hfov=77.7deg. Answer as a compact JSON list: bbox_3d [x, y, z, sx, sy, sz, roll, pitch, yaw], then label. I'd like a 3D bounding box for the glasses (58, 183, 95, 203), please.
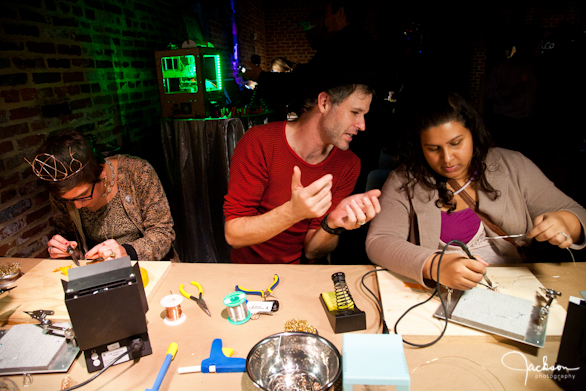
[{"bbox_3d":[-1.181,0.004,2.005,0.139,0.128,0.037,-4,-25,4],"label":"glasses"}]

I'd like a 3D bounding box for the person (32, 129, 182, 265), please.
[{"bbox_3d":[-1.101,0.057,2.149,0.624,1.098,0.541,-7,19,-15],"label":"person"}]

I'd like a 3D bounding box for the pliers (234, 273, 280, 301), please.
[{"bbox_3d":[-0.137,0.464,1.744,0.219,0.038,0.192,-11,21,-24],"label":"pliers"}]
